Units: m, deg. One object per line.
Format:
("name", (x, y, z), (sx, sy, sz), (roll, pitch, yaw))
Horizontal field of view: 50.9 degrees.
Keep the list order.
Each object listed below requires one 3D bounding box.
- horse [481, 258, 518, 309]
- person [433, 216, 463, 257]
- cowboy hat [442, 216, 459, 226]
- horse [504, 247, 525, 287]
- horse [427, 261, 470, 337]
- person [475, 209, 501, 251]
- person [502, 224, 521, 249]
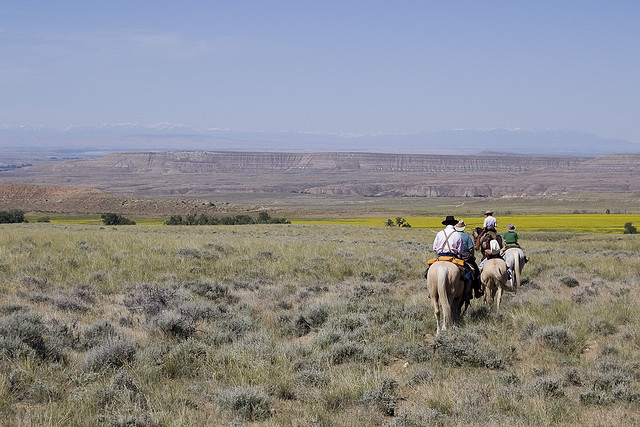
("horse", (5.376, 2.127, 20.695), (0.661, 1.409, 1.101), (0, 9, -13))
("person", (3.528, 0.633, 18.526), (0.786, 1.107, 0.555), (4, 9, 11))
("cowboy hat", (3.595, 0.178, 18.643), (0.333, 0.288, 0.705), (6, 9, 25))
("horse", (6.778, 1.639, 23.705), (0.562, 1.469, 2.133), (1, 7, 9))
("horse", (3.294, 2.197, 18.047), (0.878, 1.775, 1.608), (5, 9, 18))
("person", (6.047, 0.744, 24.087), (0.625, 1.107, 1.910), (0, 21, 13))
("person", (6.654, 0.793, 23.480), (0.533, 0.752, 1.280), (5, 8, 15))
